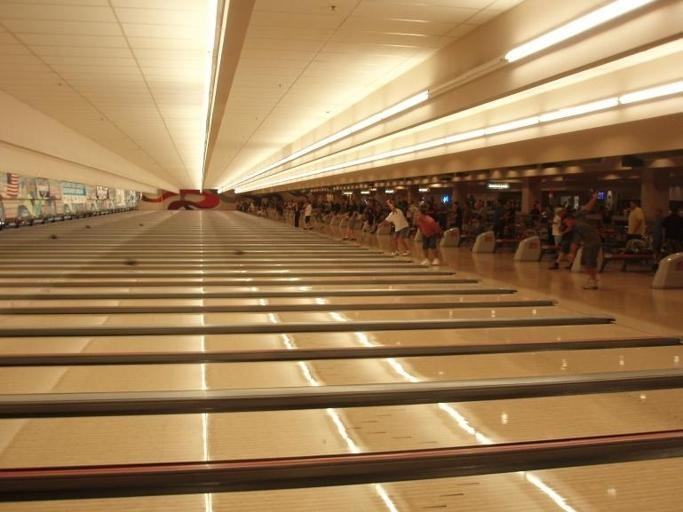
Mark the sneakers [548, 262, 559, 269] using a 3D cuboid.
[{"bbox_3d":[5.393,0.253,11.456,0.282,0.113,0.226,0,-5,-1],"label":"sneakers"}]

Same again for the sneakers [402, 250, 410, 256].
[{"bbox_3d":[1.844,-0.096,12.980,0.208,0.131,0.642,1,6,8],"label":"sneakers"}]

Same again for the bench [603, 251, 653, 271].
[{"bbox_3d":[7.405,0.130,11.544,1.024,0.285,0.825,-1,4,4],"label":"bench"}]
